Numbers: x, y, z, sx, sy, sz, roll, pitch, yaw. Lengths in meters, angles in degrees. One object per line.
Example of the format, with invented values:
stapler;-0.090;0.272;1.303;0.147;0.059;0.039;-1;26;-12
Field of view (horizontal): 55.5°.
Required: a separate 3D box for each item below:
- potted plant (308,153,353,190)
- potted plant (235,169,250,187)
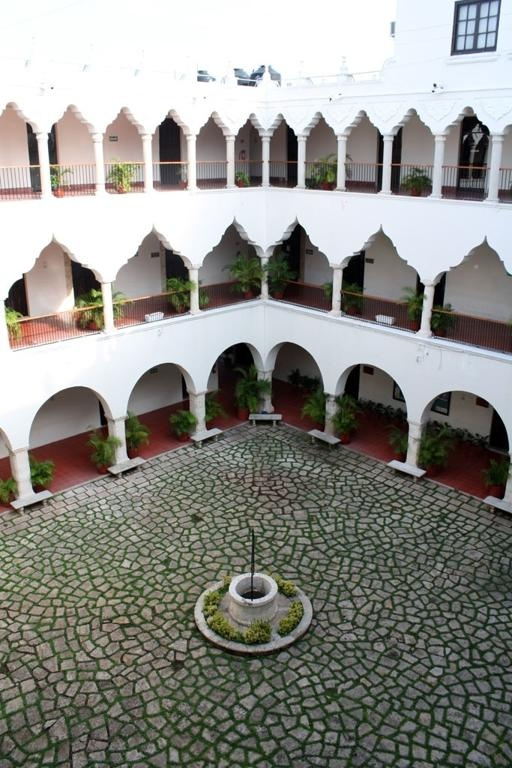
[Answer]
potted plant;2.479;-7.141;16.739;1.460;1.463;1.184;-19;27;-23
potted plant;-0.487;-7.255;17.366;0.508;0.632;0.390;-1;3;-18
